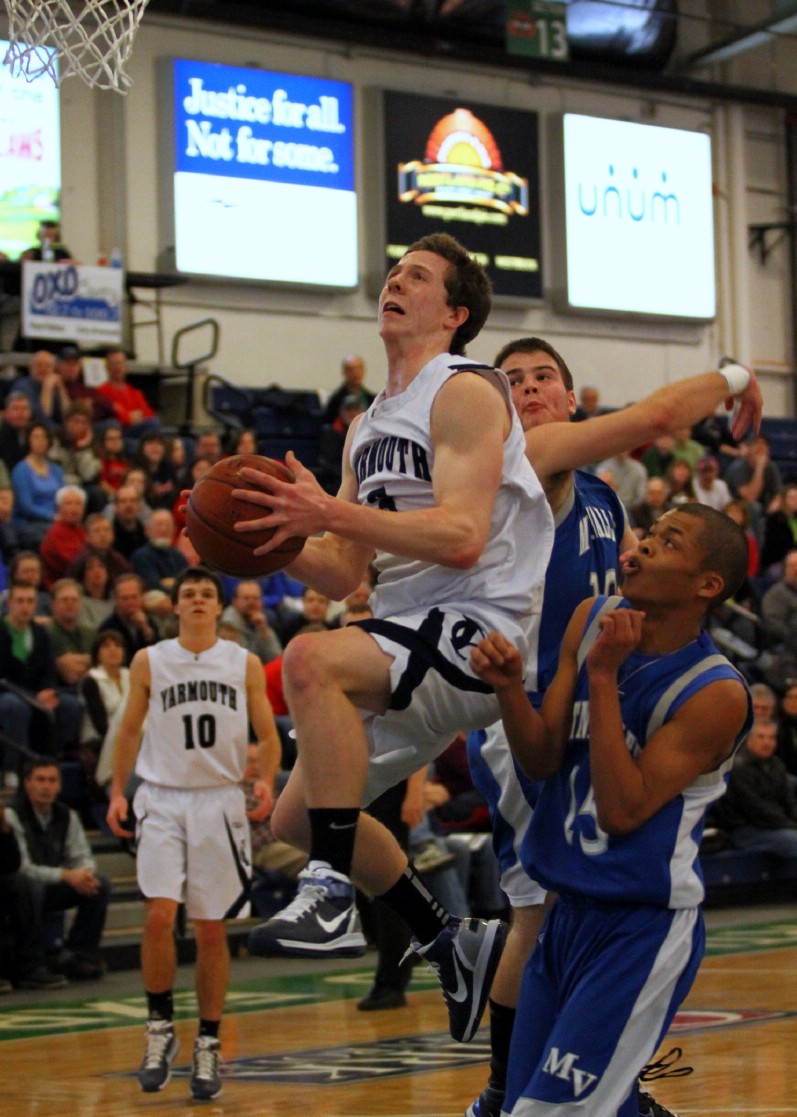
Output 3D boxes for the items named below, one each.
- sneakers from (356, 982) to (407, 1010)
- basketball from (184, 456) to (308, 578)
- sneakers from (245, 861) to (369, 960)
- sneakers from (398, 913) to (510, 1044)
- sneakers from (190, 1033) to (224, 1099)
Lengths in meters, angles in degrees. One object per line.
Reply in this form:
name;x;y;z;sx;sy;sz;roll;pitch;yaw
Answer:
sneakers;-0.074;1.828;5.475;0.198;0.078;0.085;9;-10;-44
basketball;-0.271;-0.077;2.246;0.209;0.217;0.215;0;0;6
sneakers;-0.144;0.584;2.140;0.145;0.137;0.209;0;0;14
sneakers;0.140;0.882;2.812;0.299;0.363;0.136;-2;30;-3
sneakers;-0.578;1.539;3.951;0.066;0.078;0.196;1;14;-6
